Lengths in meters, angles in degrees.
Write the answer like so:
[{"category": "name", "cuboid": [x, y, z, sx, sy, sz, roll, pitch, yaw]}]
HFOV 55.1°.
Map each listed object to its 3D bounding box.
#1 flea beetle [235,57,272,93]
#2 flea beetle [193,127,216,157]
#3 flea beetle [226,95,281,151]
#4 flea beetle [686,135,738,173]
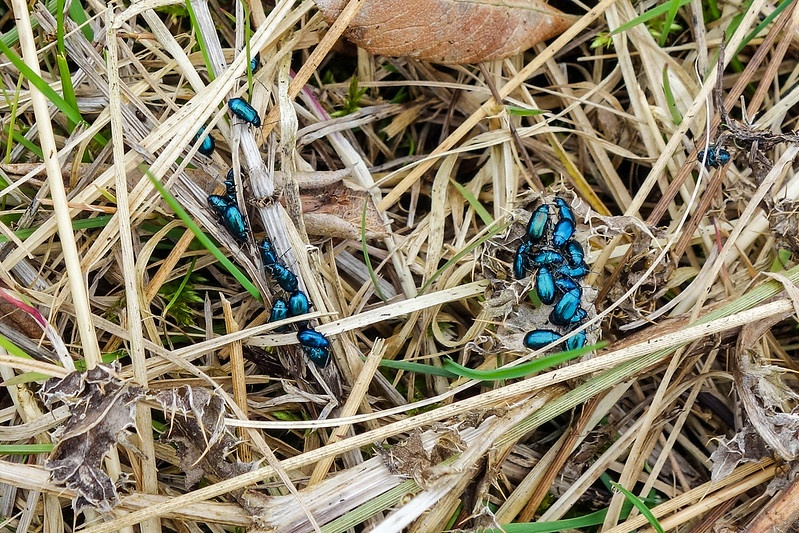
[{"category": "flea beetle", "cuboid": [-0.548, -0.724, 2.835, 0.112, 0.113, 0.030, -45, 78, 1]}, {"category": "flea beetle", "cuboid": [-0.725, -0.461, 2.841, 0.070, 0.030, 0.104, -34, 107, -25]}, {"category": "flea beetle", "cuboid": [-0.535, -0.544, 2.776, 0.101, 0.145, 0.042, -57, 31, -11]}, {"category": "flea beetle", "cuboid": [1.141, -0.422, 2.804, 0.110, 0.079, 0.143, 10, 17, -26]}]
